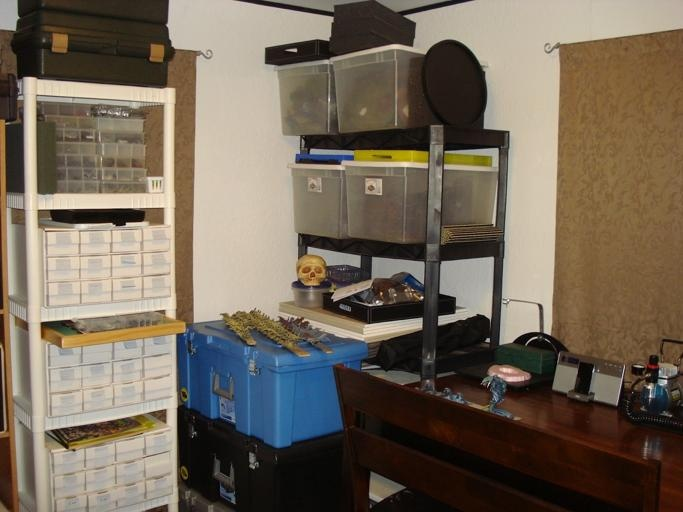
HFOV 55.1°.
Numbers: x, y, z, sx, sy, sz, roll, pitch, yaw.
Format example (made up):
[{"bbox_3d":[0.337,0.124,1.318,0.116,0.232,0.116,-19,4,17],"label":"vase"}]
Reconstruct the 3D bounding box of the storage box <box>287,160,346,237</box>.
[{"bbox_3d":[-0.061,-0.302,3.392,0.386,0.376,0.276,7,7,36],"label":"storage box"}]

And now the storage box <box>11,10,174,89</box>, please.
[{"bbox_3d":[-0.983,-0.762,2.629,0.483,0.174,0.298,0,3,-39],"label":"storage box"}]

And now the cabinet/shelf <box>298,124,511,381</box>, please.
[{"bbox_3d":[0.307,-0.023,3.041,0.610,1.398,1.101,-6,9,-41],"label":"cabinet/shelf"}]

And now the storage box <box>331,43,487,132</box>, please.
[{"bbox_3d":[0.243,-0.735,3.143,0.466,0.296,0.474,2,6,25],"label":"storage box"}]

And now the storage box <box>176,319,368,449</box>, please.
[{"bbox_3d":[-0.325,0.547,2.704,0.543,0.272,0.539,0,6,-43],"label":"storage box"}]

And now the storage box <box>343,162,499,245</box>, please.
[{"bbox_3d":[0.415,-0.275,3.199,0.771,0.395,0.513,-2,6,-42],"label":"storage box"}]

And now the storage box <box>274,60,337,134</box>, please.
[{"bbox_3d":[-0.288,-0.825,3.398,0.264,0.392,0.453,12,22,41],"label":"storage box"}]
